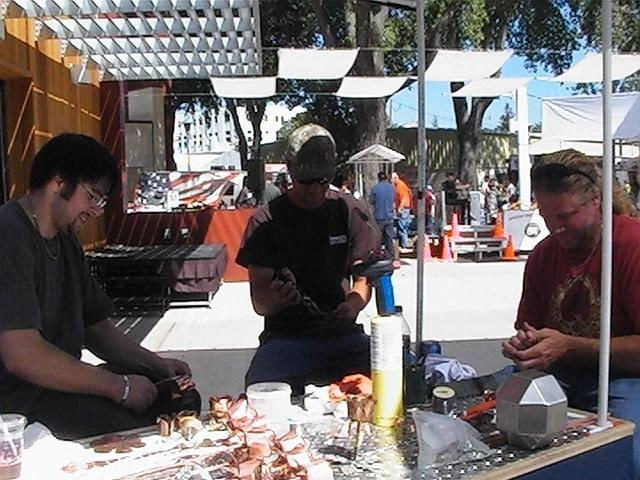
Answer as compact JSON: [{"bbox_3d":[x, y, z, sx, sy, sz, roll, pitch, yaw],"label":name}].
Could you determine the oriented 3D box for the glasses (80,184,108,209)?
[{"bbox_3d":[-0.942,-0.180,2.379,0.026,0.086,0.083,-40,-17,10],"label":"glasses"}]

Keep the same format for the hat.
[{"bbox_3d":[-0.045,-0.437,2.874,0.251,0.291,0.213,0,5,-3],"label":"hat"}]

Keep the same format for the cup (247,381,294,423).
[{"bbox_3d":[-0.181,0.573,2.118,0.120,0.129,0.126,1,3,0],"label":"cup"}]
